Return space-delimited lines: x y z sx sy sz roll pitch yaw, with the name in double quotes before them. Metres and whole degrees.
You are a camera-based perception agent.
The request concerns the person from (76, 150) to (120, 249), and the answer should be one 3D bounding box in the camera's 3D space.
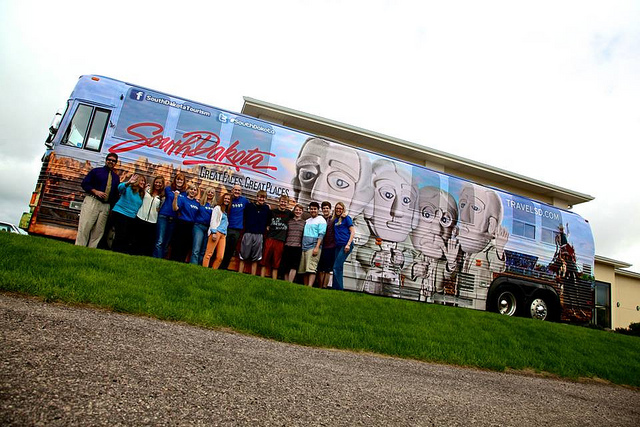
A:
"person" -5.154 -0.151 10.763 0.794 1.531 0.471 9 5 -35
